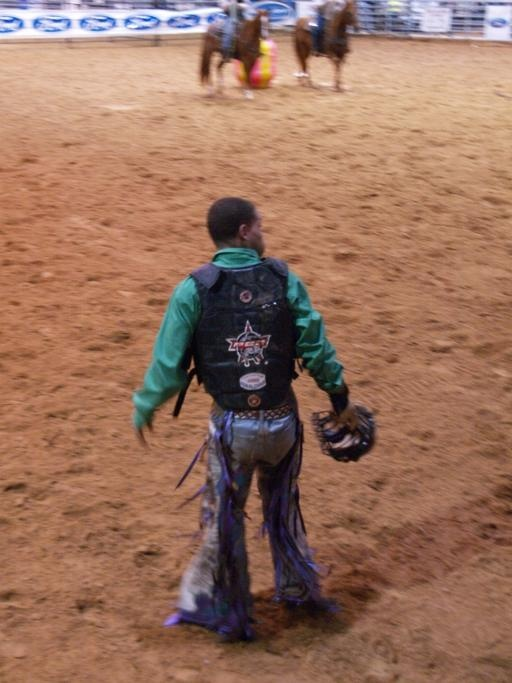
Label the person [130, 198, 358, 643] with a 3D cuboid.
[{"bbox_3d":[-0.046,0.358,3.090,0.852,1.843,0.409,-3,18,-8],"label":"person"}]

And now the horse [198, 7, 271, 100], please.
[{"bbox_3d":[-0.351,-4.213,11.075,0.937,1.424,1.218,-2,16,-5],"label":"horse"}]
